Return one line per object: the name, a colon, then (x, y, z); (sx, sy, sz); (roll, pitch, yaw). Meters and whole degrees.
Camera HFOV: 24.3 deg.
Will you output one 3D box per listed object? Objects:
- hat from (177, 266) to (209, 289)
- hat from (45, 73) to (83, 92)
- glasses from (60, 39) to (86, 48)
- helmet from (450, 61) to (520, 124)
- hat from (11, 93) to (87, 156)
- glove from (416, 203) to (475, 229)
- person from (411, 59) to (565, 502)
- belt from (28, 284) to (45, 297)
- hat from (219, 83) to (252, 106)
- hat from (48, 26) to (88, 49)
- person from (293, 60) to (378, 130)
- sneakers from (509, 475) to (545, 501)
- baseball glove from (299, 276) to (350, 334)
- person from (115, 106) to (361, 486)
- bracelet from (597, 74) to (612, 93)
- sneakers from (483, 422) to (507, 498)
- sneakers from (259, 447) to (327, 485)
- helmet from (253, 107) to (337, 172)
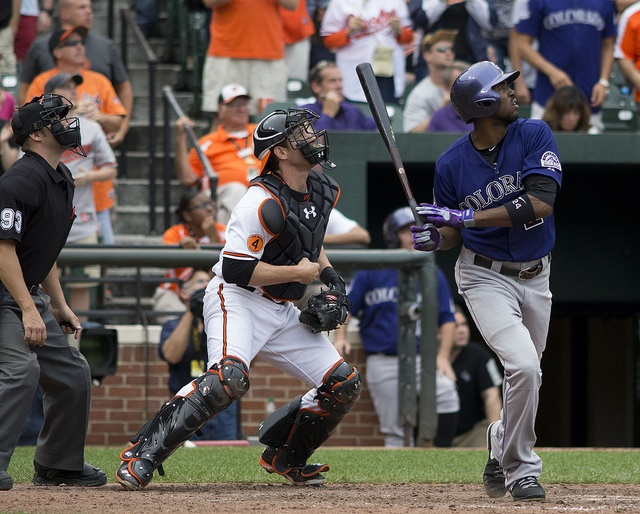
hat: (-1.043, 0.164, 11.905); (0.212, 0.254, 0.149); (-3, -38, -5)
hat: (-2.006, -1.372, 11.641); (0.259, 0.081, 0.159); (-15, 6, 35)
glasses: (-2.084, -1.773, 12.351); (0.130, 0.039, 0.089); (-17, -6, 36)
helmet: (1.043, -1.073, 9.648); (0.453, 0.328, 0.335); (-15, 2, 14)
hat: (-1.741, -0.854, 9.688); (0.416, 0.359, 0.344); (-17, 6, 0)
glove: (0.802, -0.258, 9.446); (0.278, 0.095, 0.175); (0, 8, 11)
person: (1.092, 0.136, 9.554); (0.854, 2.792, 0.447); (2, -2, 8)
belt: (-1.820, 0.212, 9.541); (0.069, 0.048, 0.027); (8, 21, 32)
hat: (-0.739, -1.386, 12.632); (0.261, 0.188, 0.247); (2, -1, 3)
hat: (-2.117, -1.838, 12.420); (0.306, 0.097, 0.191); (-29, -4, 34)
person: (0.154, -1.348, 12.537); (0.329, 0.339, 0.989); (11, -12, 45)
sneakers: (1.301, 1.456, 9.323); (0.110, 0.091, 0.237); (-2, -14, -19)
baseball glove: (0.078, 0.274, 9.828); (0.334, 0.445, 0.202); (12, -43, 0)
person: (-0.410, 0.259, 9.638); (1.299, 2.468, 0.535); (3, -2, -28)
bracelet: (2.527, -1.545, 13.182); (0.045, 0.180, 0.188); (-21, -8, 12)
sneakers: (1.112, 1.313, 9.580); (0.152, 0.448, 0.185); (-4, 2, -7)
sneakers: (-0.148, 1.377, 9.942); (0.509, 0.228, 0.198); (13, -4, 4)
helmet: (-0.173, -0.761, 9.620); (0.497, 0.382, 0.351); (-7, 9, 7)
